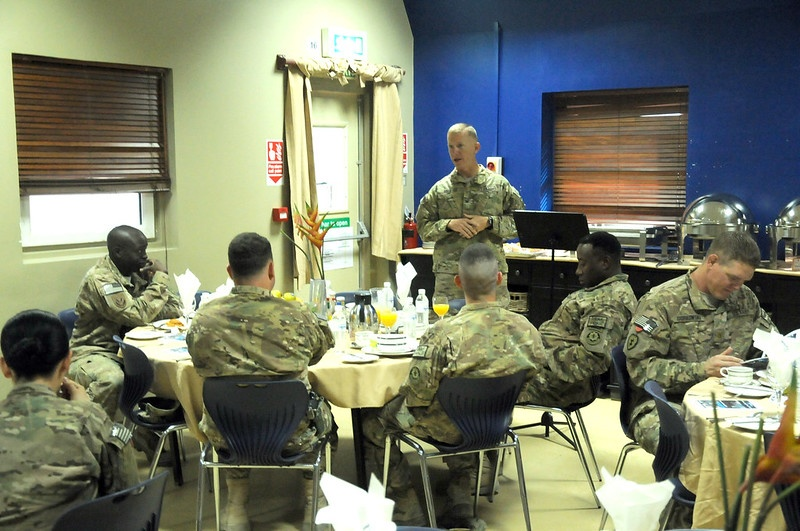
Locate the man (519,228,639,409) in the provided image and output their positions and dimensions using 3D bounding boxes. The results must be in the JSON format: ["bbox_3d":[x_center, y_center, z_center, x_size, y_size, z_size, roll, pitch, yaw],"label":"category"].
[{"bbox_3d":[1.136,0.331,4.369,1.026,1.202,0.876,4,8,22],"label":"man"}]

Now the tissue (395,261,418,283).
[{"bbox_3d":[0.039,0.052,4.166,0.144,0.108,0.117,-1,-5,8],"label":"tissue"}]

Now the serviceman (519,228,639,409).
[{"bbox_3d":[1.132,0.329,4.367,1.026,1.202,0.876,4,8,22],"label":"serviceman"}]

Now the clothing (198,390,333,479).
[{"bbox_3d":[-0.633,0.768,3.221,0.608,0.557,0.517,0,7,0],"label":"clothing"}]

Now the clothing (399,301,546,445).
[{"bbox_3d":[0.325,0.538,3.487,0.920,0.877,0.674,-2,13,-13],"label":"clothing"}]

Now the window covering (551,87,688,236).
[{"bbox_3d":[2.263,-1.066,6.392,1.609,1.583,0.075,3,5,32],"label":"window covering"}]

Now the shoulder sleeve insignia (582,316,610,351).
[{"bbox_3d":[1.146,0.408,3.694,0.177,0.238,0.034,10,-8,28],"label":"shoulder sleeve insignia"}]

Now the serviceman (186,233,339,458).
[{"bbox_3d":[-0.741,0.542,3.415,0.788,1.321,0.728,-1,2,-3],"label":"serviceman"}]

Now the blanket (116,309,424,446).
[{"bbox_3d":[-0.645,0.608,3.388,0.915,0.212,0.906,3,5,6],"label":"blanket"}]

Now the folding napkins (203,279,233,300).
[{"bbox_3d":[-1.296,0.175,4.492,0.191,0.176,0.182,0,7,-2],"label":"folding napkins"}]

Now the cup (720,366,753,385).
[{"bbox_3d":[1.610,0.530,3.045,0.093,0.055,0.122,-1,-3,-43],"label":"cup"}]

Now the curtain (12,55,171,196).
[{"bbox_3d":[-2.457,-1.112,4.962,0.185,0.878,1.231,6,9,43],"label":"curtain"}]

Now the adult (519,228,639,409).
[{"bbox_3d":[1.043,0.334,4.403,1.026,1.202,0.876,4,8,22],"label":"adult"}]

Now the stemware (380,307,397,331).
[{"bbox_3d":[-0.067,0.328,3.855,0.106,0.105,0.113,1,0,21],"label":"stemware"}]

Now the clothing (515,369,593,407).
[{"bbox_3d":[0.972,0.796,3.921,0.328,0.125,0.254,2,2,20],"label":"clothing"}]

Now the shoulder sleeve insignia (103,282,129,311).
[{"bbox_3d":[-1.859,0.216,4.145,0.168,0.197,0.028,-11,-12,-39],"label":"shoulder sleeve insignia"}]

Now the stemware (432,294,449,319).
[{"bbox_3d":[0.259,0.275,4.047,0.141,0.210,0.144,1,0,2],"label":"stemware"}]

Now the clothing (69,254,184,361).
[{"bbox_3d":[-1.938,0.337,4.443,0.800,0.791,0.626,-5,15,-21],"label":"clothing"}]

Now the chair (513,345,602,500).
[{"bbox_3d":[0.989,1.023,4.325,0.643,0.821,0.631,-4,6,22],"label":"chair"}]

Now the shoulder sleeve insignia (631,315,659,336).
[{"bbox_3d":[1.324,0.319,3.413,0.114,0.083,0.032,3,-27,16],"label":"shoulder sleeve insignia"}]

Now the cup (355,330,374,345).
[{"bbox_3d":[-0.225,0.443,3.816,0.083,0.058,0.081,1,5,0],"label":"cup"}]
